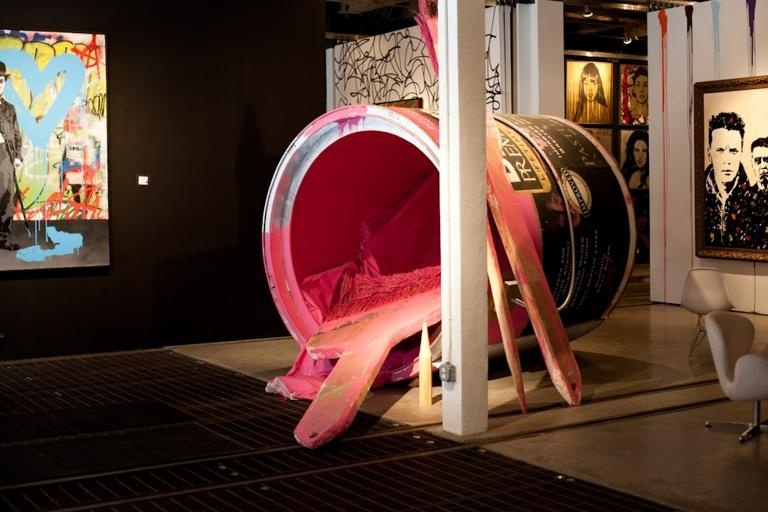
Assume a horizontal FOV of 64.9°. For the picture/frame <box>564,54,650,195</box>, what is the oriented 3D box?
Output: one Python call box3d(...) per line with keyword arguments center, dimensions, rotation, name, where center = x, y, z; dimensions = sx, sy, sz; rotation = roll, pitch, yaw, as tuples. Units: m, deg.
box3d(center=(4.357, -2.610, 12.345), dimensions=(2.347, 3.019, 0.161), rotation=(-1, 11, -18), name="picture/frame")
